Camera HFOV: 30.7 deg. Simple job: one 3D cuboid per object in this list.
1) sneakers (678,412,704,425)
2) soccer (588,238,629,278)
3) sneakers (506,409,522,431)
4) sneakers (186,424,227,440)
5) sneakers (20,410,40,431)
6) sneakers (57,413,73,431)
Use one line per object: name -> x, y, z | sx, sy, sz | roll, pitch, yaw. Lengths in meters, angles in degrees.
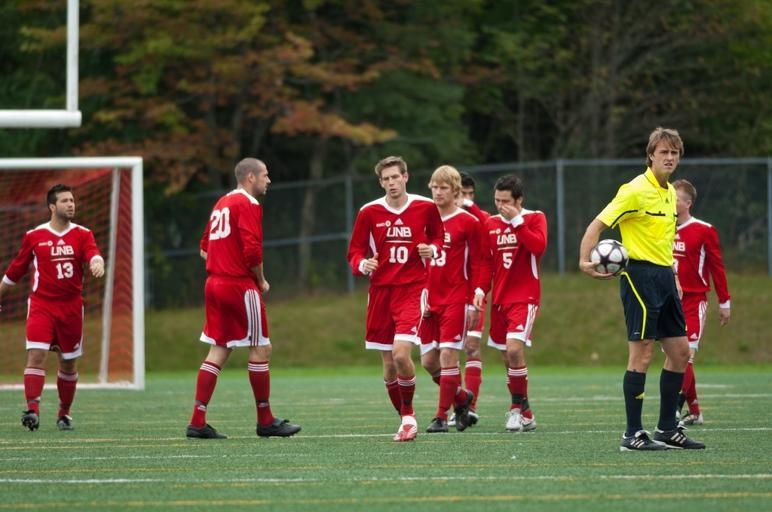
sneakers -> 5.019, 2.687, 23.178 | 0.545, 0.223, 0.179 | 0, 0, 0
soccer -> 3.365, 0.007, 21.300 | 0.551, 0.525, 0.528 | 11, -24, -19
sneakers -> 2.072, 2.647, 22.710 | 0.272, 0.341, 0.192 | -1, 1, 17
sneakers -> -2.801, 2.774, 22.207 | 0.640, 0.224, 0.223 | 2, -2, -15
sneakers -> -5.702, 2.653, 22.745 | 0.167, 0.217, 0.449 | -4, -33, -2
sneakers -> -5.202, 2.731, 23.020 | 0.283, 0.266, 0.191 | 7, -12, -27
